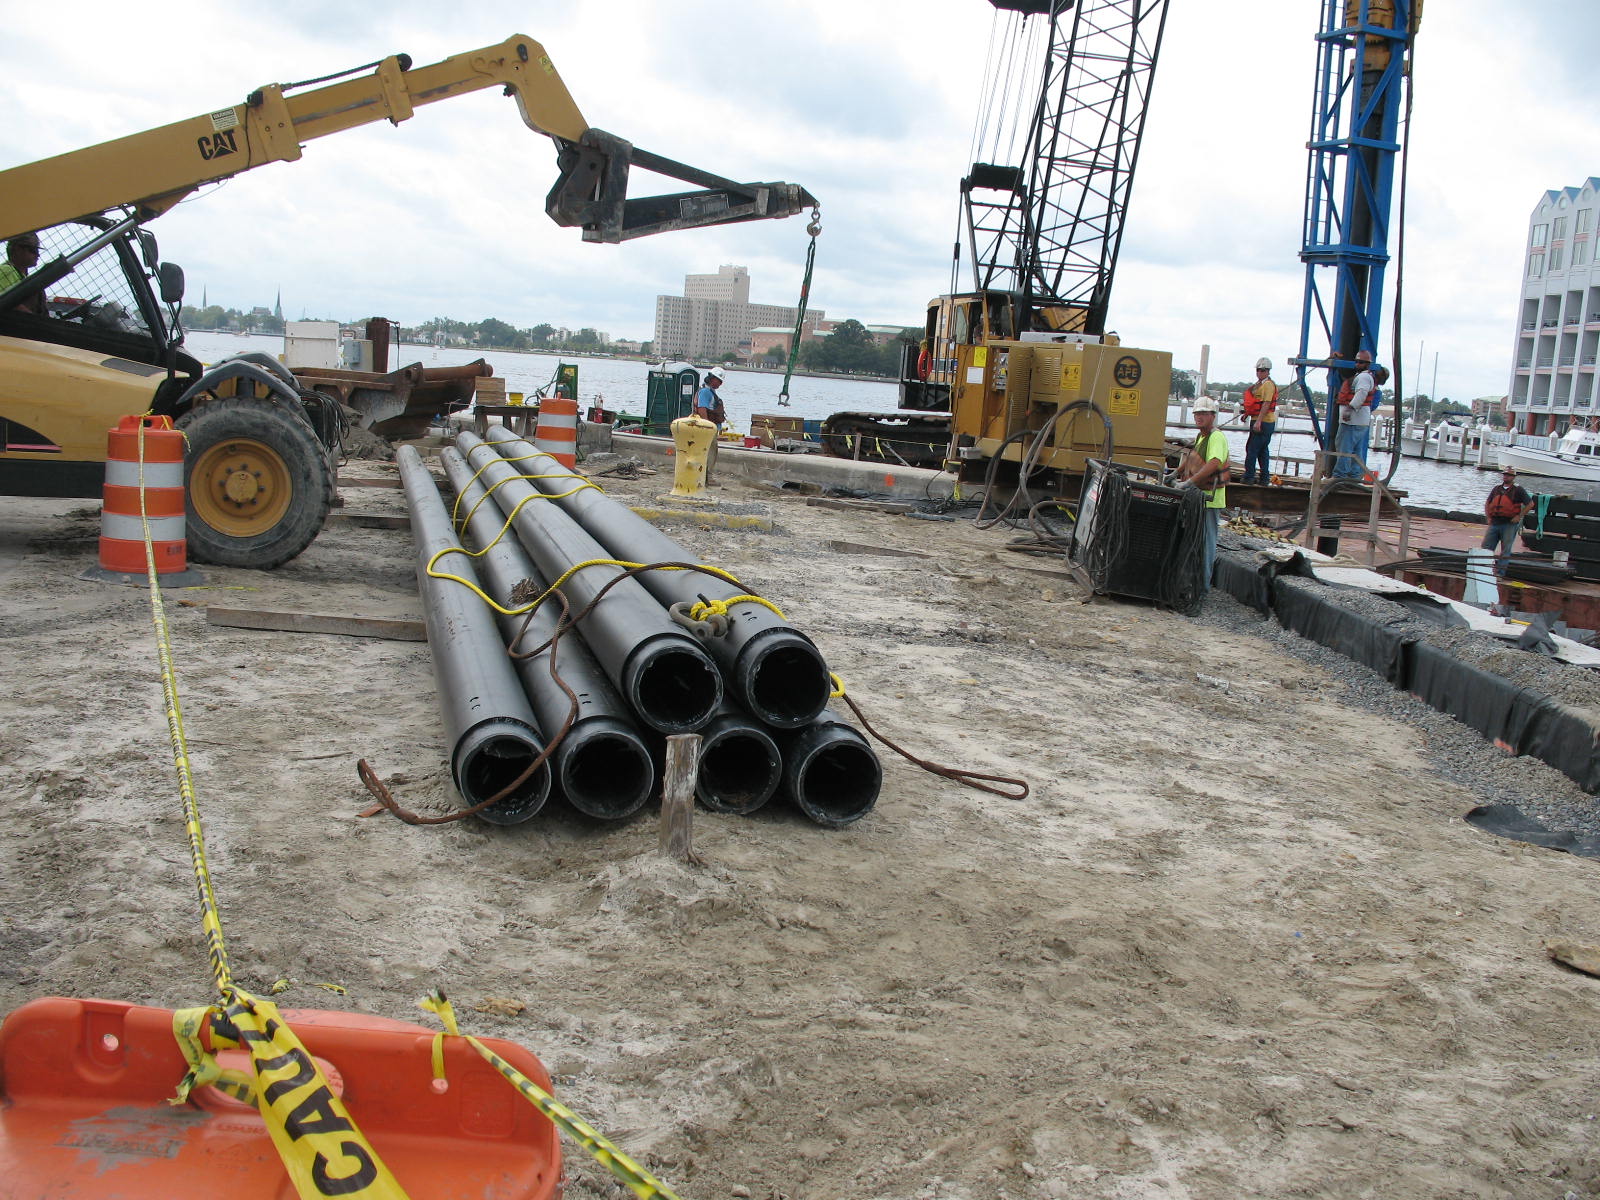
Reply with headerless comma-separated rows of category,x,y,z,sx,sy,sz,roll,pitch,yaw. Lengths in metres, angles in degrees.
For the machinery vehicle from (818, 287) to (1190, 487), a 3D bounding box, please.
machinery vehicle,3.520,-3.066,18.515,4.561,3.200,8.151,0,10,-8
